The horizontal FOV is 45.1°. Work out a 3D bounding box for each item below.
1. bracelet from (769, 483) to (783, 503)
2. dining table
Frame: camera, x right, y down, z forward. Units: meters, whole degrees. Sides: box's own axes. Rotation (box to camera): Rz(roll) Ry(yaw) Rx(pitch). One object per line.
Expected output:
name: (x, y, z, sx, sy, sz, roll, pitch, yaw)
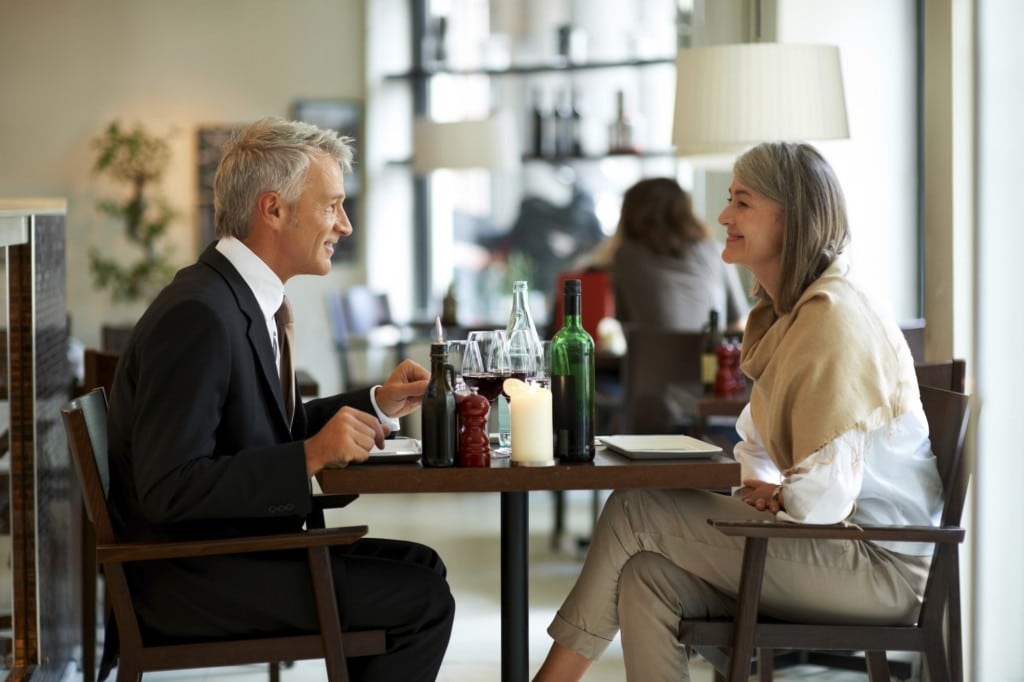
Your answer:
bracelet: (0.742, 0.431, 3.464, 0.015, 0.043, 0.029, 10, -12, -37)
dining table: (0.025, 0.517, 3.654, 0.755, 0.800, 0.793, -1, -4, -3)
